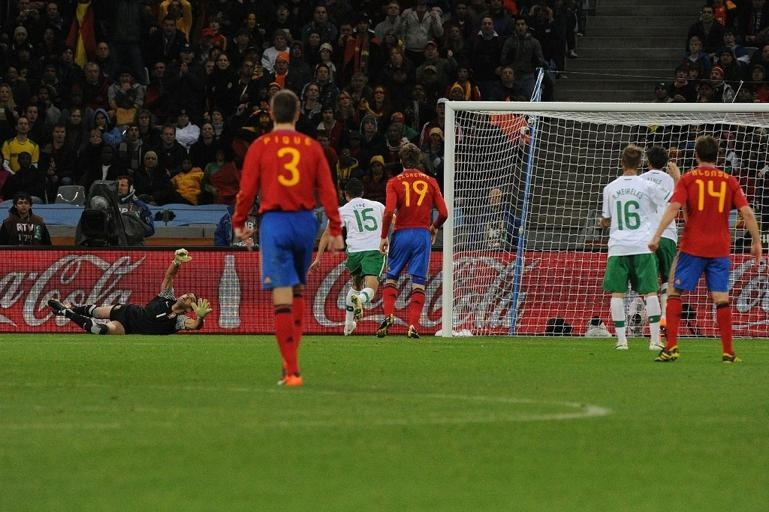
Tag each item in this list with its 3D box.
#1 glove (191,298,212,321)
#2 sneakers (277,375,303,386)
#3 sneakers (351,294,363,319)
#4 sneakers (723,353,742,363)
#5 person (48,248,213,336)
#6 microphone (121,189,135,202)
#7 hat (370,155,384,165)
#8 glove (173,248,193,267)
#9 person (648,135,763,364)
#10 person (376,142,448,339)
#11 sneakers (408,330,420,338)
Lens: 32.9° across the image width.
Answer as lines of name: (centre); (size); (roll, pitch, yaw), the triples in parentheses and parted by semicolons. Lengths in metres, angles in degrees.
glove: (-3.018, 0.859, 21.394); (0.371, 0.187, 0.510); (35, -16, -8)
sneakers: (-1.200, 1.584, 16.569); (0.220, 0.078, 0.170); (-1, -2, 33)
sneakers: (-0.457, 0.813, 20.834); (0.164, 0.391, 0.190); (-4, 2, 12)
sneakers: (4.974, 1.457, 18.703); (0.103, 0.110, 0.289); (8, 3, 44)
person: (-4.059, 0.626, 20.933); (2.327, 0.866, 1.352); (2, 11, -4)
microphone: (-4.690, -1.077, 23.792); (0.259, 0.185, 0.203); (17, -10, -32)
hat: (-0.154, -1.789, 24.588); (0.197, 0.180, 0.250); (1, 8, 5)
glove: (-3.313, 0.059, 21.075); (0.317, 0.293, 0.310); (14, 7, 43)
person: (4.509, -0.101, 18.598); (1.434, 3.230, 0.508); (2, -2, 11)
person: (0.412, -0.249, 20.508); (0.949, 3.029, 0.468); (3, -1, -4)
sneakers: (0.444, 1.220, 20.464); (0.179, 0.163, 0.129); (4, -8, -25)
